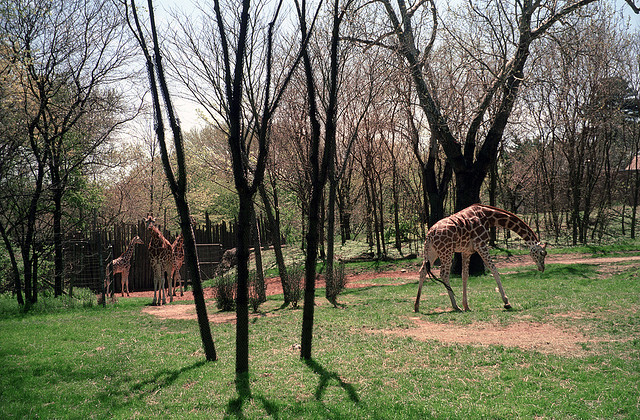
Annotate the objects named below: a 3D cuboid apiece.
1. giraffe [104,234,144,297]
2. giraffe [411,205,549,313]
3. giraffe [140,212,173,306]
[{"bbox_3d":[-9.544,2.757,26.137,1.649,2.970,3.762,-2,-4,-21],"label":"giraffe"},{"bbox_3d":[6.191,1.851,20.146,5.021,4.084,1.564,1,-6,-3],"label":"giraffe"},{"bbox_3d":[-7.162,2.166,24.070,1.048,4.003,2.687,-2,-3,-19],"label":"giraffe"}]
